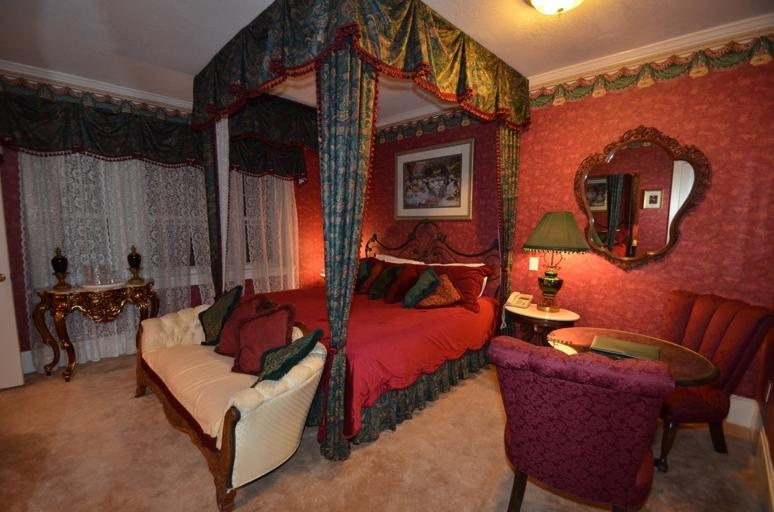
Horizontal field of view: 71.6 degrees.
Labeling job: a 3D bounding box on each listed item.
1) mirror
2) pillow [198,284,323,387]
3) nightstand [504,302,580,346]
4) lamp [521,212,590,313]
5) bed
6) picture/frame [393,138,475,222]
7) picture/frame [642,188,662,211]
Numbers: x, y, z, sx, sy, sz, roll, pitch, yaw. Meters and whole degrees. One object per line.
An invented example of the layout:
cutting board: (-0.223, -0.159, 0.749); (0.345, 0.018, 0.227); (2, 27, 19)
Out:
mirror: (3.105, -0.663, 6.368); (1.545, 1.907, 0.096); (9, 11, 28)
pillow: (-1.210, 0.984, 6.182); (0.415, 0.837, 1.570); (31, -9, -35)
nightstand: (1.891, 0.775, 6.628); (0.629, 0.662, 0.621); (-3, 12, -17)
lamp: (2.068, 0.056, 6.623); (0.735, 1.232, 0.608); (1, 6, 17)
bed: (0.099, 0.884, 6.871); (2.528, 1.712, 2.533); (-5, 9, -40)
picture/frame: (0.732, -1.130, 7.856); (1.358, 1.019, 0.056); (-1, 0, 43)
picture/frame: (3.150, -0.676, 6.354); (0.260, 0.341, 0.036); (-3, 1, 39)
